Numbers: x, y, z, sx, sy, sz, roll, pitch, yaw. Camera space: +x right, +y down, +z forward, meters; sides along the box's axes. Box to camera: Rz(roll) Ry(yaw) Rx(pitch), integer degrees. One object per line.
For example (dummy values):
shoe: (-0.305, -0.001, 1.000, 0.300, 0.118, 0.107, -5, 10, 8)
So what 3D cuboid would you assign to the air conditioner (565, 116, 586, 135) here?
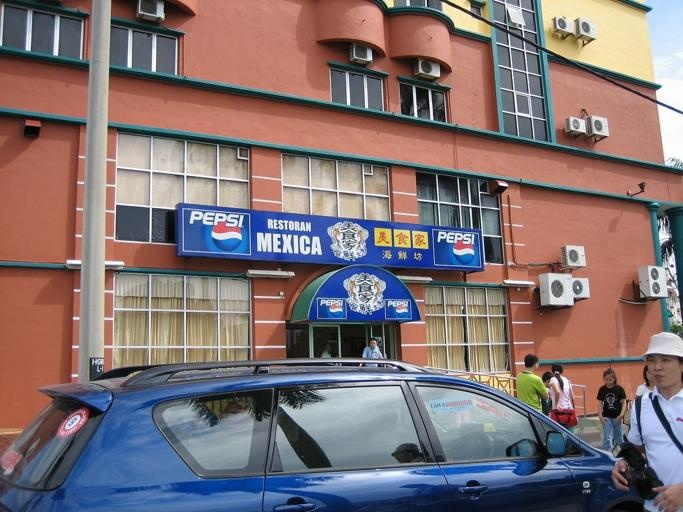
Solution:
air conditioner: (8.071, -4.460, 21.296, 0.623, 0.528, 0.311, 4, -14, -25)

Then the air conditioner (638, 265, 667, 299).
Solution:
air conditioner: (10.811, 0.946, 21.465, 1.388, 1.301, 0.441, 6, -11, -45)

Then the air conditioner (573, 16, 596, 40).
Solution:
air conditioner: (8.774, -8.193, 22.185, 0.800, 0.790, 0.348, 1, -6, -33)

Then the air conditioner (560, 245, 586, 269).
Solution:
air conditioner: (7.442, 0.053, 19.872, 0.686, 0.606, 0.266, 5, -15, -23)

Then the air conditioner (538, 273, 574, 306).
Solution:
air conditioner: (6.820, 1.049, 19.683, 0.474, 1.152, 1.373, 6, -7, 30)

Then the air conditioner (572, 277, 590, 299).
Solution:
air conditioner: (7.583, 1.041, 19.563, 0.318, 0.535, 0.597, -12, -18, 40)

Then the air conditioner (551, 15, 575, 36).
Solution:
air conditioner: (7.866, -8.162, 21.935, 0.820, 0.489, 0.281, 5, -12, -31)

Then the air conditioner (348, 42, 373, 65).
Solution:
air conditioner: (0.507, -5.808, 17.633, 0.586, 0.491, 0.296, 5, -16, -31)

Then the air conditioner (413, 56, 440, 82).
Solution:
air conditioner: (2.557, -5.690, 18.671, 0.713, 0.460, 0.249, 7, -20, -27)

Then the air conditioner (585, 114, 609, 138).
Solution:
air conditioner: (8.944, -4.505, 21.610, 0.873, 0.762, 0.463, 4, -15, -34)
